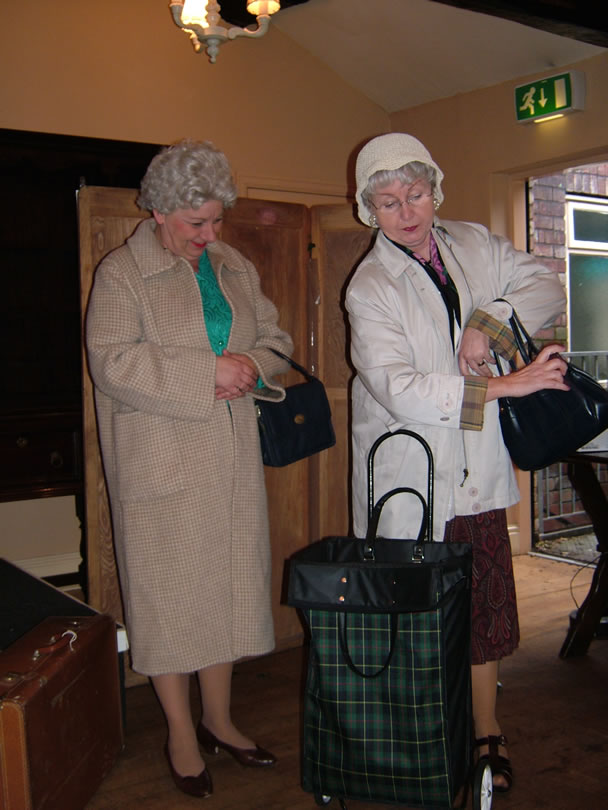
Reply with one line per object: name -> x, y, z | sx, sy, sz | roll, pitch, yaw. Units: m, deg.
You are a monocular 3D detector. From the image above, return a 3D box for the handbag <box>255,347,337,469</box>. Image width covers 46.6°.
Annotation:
handbag -> -0.051, -0.003, 1.972 | 0.230, 0.287, 0.128 | -22, 23, -23

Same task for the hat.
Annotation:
hat -> 0.204, -0.527, 1.610 | 0.207, 0.192, 0.191 | -7, -24, 7

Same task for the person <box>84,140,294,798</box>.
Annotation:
person -> -0.293, 0.169, 1.828 | 0.532, 1.637, 0.360 | 1, 2, -22
